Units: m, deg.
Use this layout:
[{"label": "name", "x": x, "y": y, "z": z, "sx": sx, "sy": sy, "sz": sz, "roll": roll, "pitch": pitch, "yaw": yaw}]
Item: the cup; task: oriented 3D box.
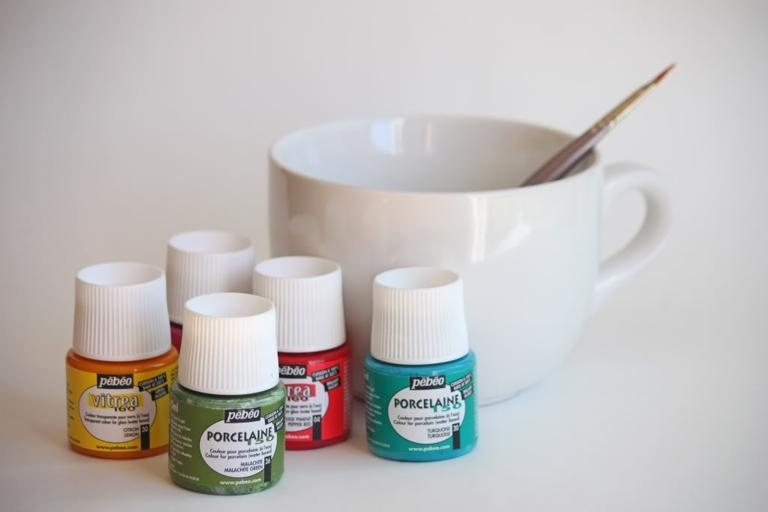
[{"label": "cup", "x": 0.099, "y": 0.000, "z": 0.928, "sx": 0.474, "sy": 0.310, "sz": 0.372, "roll": 0, "pitch": 11, "yaw": -5}]
